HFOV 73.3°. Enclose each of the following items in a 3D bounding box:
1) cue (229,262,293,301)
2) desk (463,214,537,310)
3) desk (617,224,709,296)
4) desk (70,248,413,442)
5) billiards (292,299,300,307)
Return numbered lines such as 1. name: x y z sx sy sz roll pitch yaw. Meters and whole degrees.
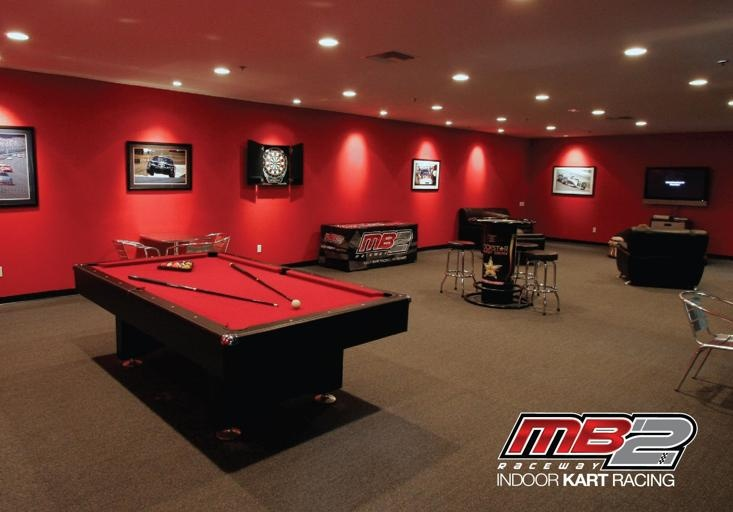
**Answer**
1. cue: -0.981 0.244 4.594 0.054 0.106 1.062 4 12 -28
2. desk: 1.919 0.061 7.493 1.251 1.326 1.226 2 6 3
3. desk: 5.169 0.046 8.772 1.264 0.996 1.148 4 9 24
4. desk: -1.123 0.616 4.385 2.610 0.814 1.440 10 14 40
5. billiards: -0.553 0.362 3.891 0.062 0.050 0.051 -7 20 -16
